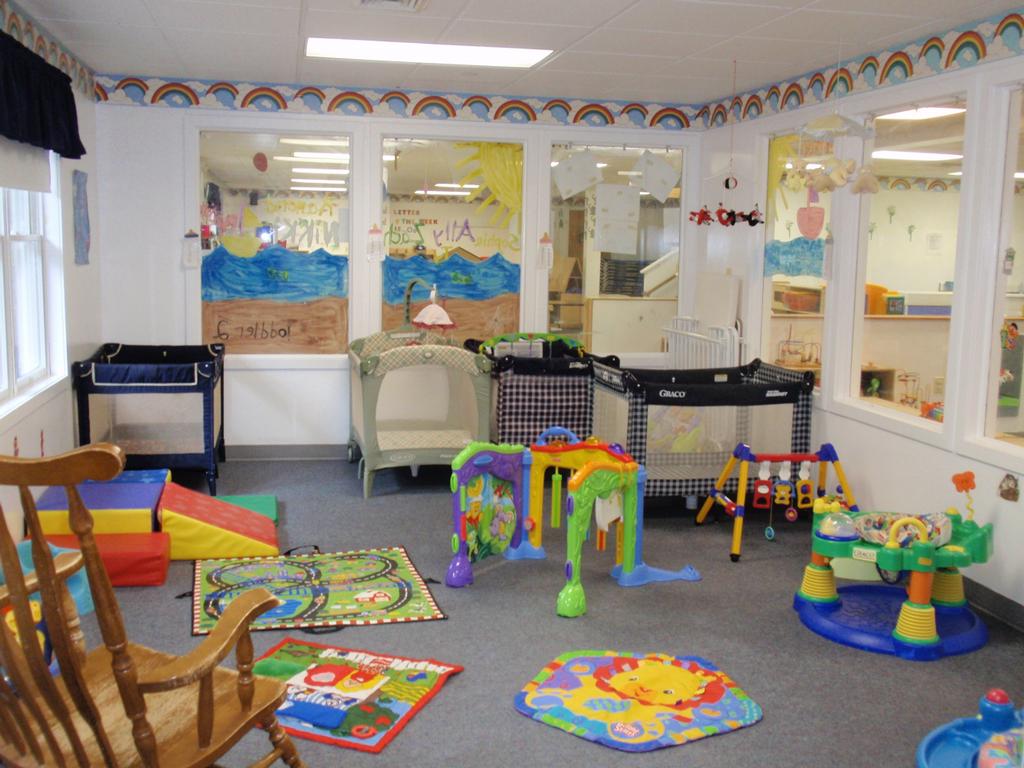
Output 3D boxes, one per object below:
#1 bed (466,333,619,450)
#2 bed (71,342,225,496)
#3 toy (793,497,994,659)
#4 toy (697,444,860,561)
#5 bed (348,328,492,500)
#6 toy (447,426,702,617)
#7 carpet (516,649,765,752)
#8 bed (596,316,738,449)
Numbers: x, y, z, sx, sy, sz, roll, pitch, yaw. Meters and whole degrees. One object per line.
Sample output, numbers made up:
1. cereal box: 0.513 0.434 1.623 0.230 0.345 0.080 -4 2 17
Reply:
1. bed: 0.160 0.027 5.810 0.864 0.589 0.729 -1 7 -9
2. bed: -2.445 0.259 5.585 1.260 0.939 1.272 -4 -5 29
3. toy: 1.856 0.873 3.917 0.820 0.572 0.862 2 7 11
4. toy: 1.611 0.653 4.837 0.874 0.610 0.628 0 10 -4
5. bed: -0.692 0.170 5.906 0.881 1.034 1.198 -1 4 -15
6. toy: 0.362 0.657 4.371 0.993 0.752 1.191 8 13 29
7. carpet: 0.508 1.235 3.213 0.940 0.047 0.667 4 12 15
8. bed: 1.101 0.057 6.126 0.945 0.675 0.972 -3 17 -7
